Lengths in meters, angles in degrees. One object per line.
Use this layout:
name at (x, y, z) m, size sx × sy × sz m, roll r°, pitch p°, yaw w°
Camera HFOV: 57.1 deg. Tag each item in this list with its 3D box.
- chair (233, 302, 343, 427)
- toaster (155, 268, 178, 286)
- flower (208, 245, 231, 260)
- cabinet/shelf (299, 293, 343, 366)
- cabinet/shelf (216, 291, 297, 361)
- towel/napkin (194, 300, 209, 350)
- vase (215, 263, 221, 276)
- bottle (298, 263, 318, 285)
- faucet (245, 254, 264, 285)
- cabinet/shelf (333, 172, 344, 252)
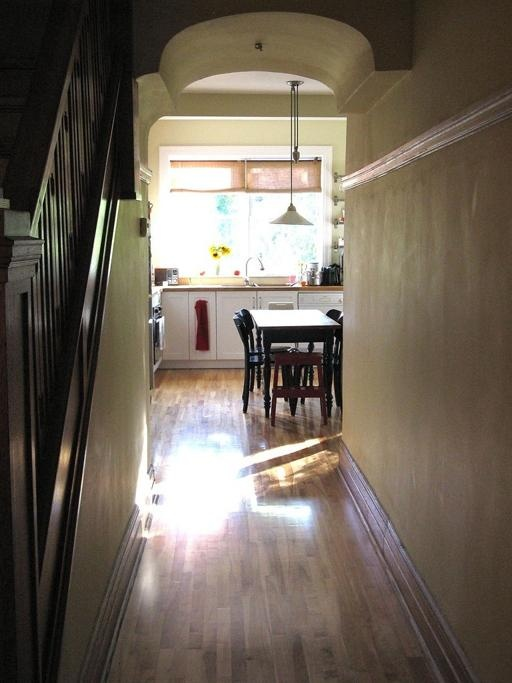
chair at (0.322, 0.195, 4.950) m, size 0.985 × 1.031 × 1.453 m, roll 0°, pitch 5°, yaw 3°
toaster at (-1.390, -0.978, 7.155) m, size 0.412 × 0.263 × 0.248 m, roll 4°, pitch 6°, yaw 36°
flower at (-0.552, -1.365, 7.253) m, size 0.316 × 0.219 × 0.342 m, roll 0°, pitch 5°, yaw 0°
cabinet/shelf at (0.951, -0.289, 6.842) m, size 0.516 × 0.745 × 0.424 m, roll 0°, pitch 0°, yaw -1°
cabinet/shelf at (-0.094, 0.046, 7.157) m, size 0.993 × 1.434 × 0.784 m, roll 0°, pitch 3°, yaw -4°
towel/napkin at (-0.765, -0.225, 6.737) m, size 0.204 × 0.729 × 0.105 m, roll -1°, pitch 5°, yaw -14°
vase at (-0.591, -1.128, 7.352) m, size 0.070 × 0.218 × 0.186 m, roll 0°, pitch 5°, yaw 3°
bottle at (0.792, -0.981, 7.131) m, size 0.220 × 0.394 × 0.319 m, roll 0°, pitch 1°, yaw -22°
faucet at (-0.014, -1.111, 7.415) m, size 0.317 × 0.464 × 0.175 m, roll -2°, pitch 5°, yaw -25°
cabinet/shelf at (1.261, -1.952, 7.205) m, size 0.161 × 1.168 × 0.166 m, roll 2°, pitch 5°, yaw 21°
